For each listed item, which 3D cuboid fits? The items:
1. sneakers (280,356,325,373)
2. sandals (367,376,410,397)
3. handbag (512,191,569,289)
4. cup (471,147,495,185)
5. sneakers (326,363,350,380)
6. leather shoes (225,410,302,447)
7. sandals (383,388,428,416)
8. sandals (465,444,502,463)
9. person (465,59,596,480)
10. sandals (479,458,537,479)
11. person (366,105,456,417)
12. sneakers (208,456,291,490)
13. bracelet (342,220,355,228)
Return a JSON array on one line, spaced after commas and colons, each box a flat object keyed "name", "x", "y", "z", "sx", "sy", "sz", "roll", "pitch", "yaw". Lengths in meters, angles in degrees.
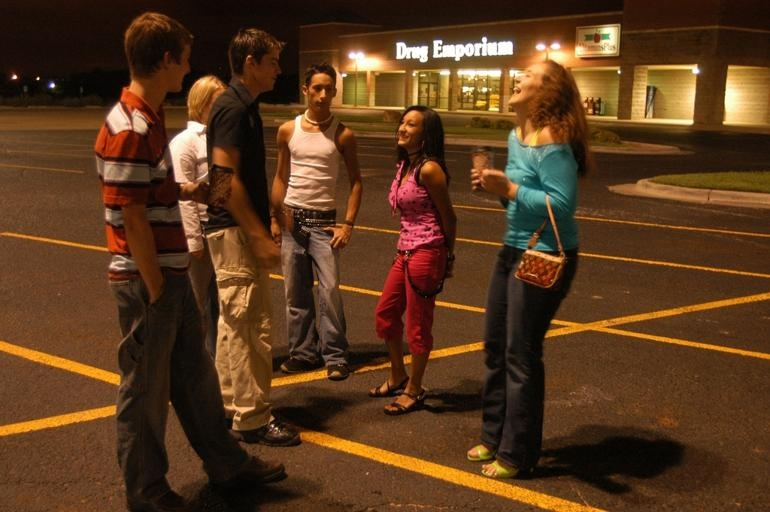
[{"name": "sneakers", "x": -0.790, "y": 1.035, "z": 5.975, "sx": 0.429, "sy": 0.184, "sz": 0.148, "roll": 5, "pitch": -3, "yaw": -33}, {"name": "sandals", "x": 0.030, "y": 1.153, "z": 5.446, "sx": 0.358, "sy": 0.102, "sz": 0.147, "roll": -4, "pitch": 0, "yaw": -22}, {"name": "handbag", "x": 1.022, "y": -0.089, "z": 4.031, "sx": 0.324, "sy": 0.602, "sz": 0.245, "roll": 3, "pitch": 11, "yaw": 12}, {"name": "cup", "x": 0.646, "y": -0.614, "z": 4.129, "sx": 0.139, "sy": 0.196, "sz": 0.332, "roll": 2, "pitch": 11, "yaw": 7}, {"name": "sneakers", "x": -0.426, "y": 1.061, "z": 5.787, "sx": 0.241, "sy": 0.125, "sz": 0.232, "roll": -2, "pitch": 11, "yaw": -15}, {"name": "leather shoes", "x": -0.891, "y": 1.314, "z": 4.747, "sx": 0.586, "sy": 0.265, "sz": 0.225, "roll": 1, "pitch": 3, "yaw": -2}, {"name": "sandals", "x": 0.174, "y": 1.224, "z": 5.203, "sx": 0.354, "sy": 0.131, "sz": 0.158, "roll": -2, "pitch": -1, "yaw": -31}, {"name": "sandals", "x": 0.693, "y": 1.416, "z": 4.486, "sx": 0.198, "sy": 0.060, "sz": 0.109, "roll": 1, "pitch": 39, "yaw": 1}, {"name": "person", "x": 0.958, "y": 0.126, "z": 4.224, "sx": 0.717, "sy": 2.830, "sz": 0.490, "roll": 4, "pitch": 11, "yaw": 16}, {"name": "sandals", "x": 0.852, "y": 1.496, "z": 4.304, "sx": 0.354, "sy": 0.089, "sz": 0.142, "roll": 8, "pitch": -27, "yaw": -3}, {"name": "person", "x": 0.220, "y": 0.031, "z": 5.125, "sx": 0.625, "sy": 2.477, "sz": 0.609, "roll": 5, "pitch": 11, "yaw": 22}, {"name": "sneakers", "x": -0.910, "y": 1.438, "z": 4.265, "sx": 0.467, "sy": 0.204, "sz": 0.172, "roll": -3, "pitch": -11, "yaw": 9}, {"name": "bracelet", "x": -0.347, "y": -0.292, "z": 5.832, "sx": 0.079, "sy": 0.056, "sz": 0.076, "roll": 4, "pitch": 0, "yaw": 2}]
